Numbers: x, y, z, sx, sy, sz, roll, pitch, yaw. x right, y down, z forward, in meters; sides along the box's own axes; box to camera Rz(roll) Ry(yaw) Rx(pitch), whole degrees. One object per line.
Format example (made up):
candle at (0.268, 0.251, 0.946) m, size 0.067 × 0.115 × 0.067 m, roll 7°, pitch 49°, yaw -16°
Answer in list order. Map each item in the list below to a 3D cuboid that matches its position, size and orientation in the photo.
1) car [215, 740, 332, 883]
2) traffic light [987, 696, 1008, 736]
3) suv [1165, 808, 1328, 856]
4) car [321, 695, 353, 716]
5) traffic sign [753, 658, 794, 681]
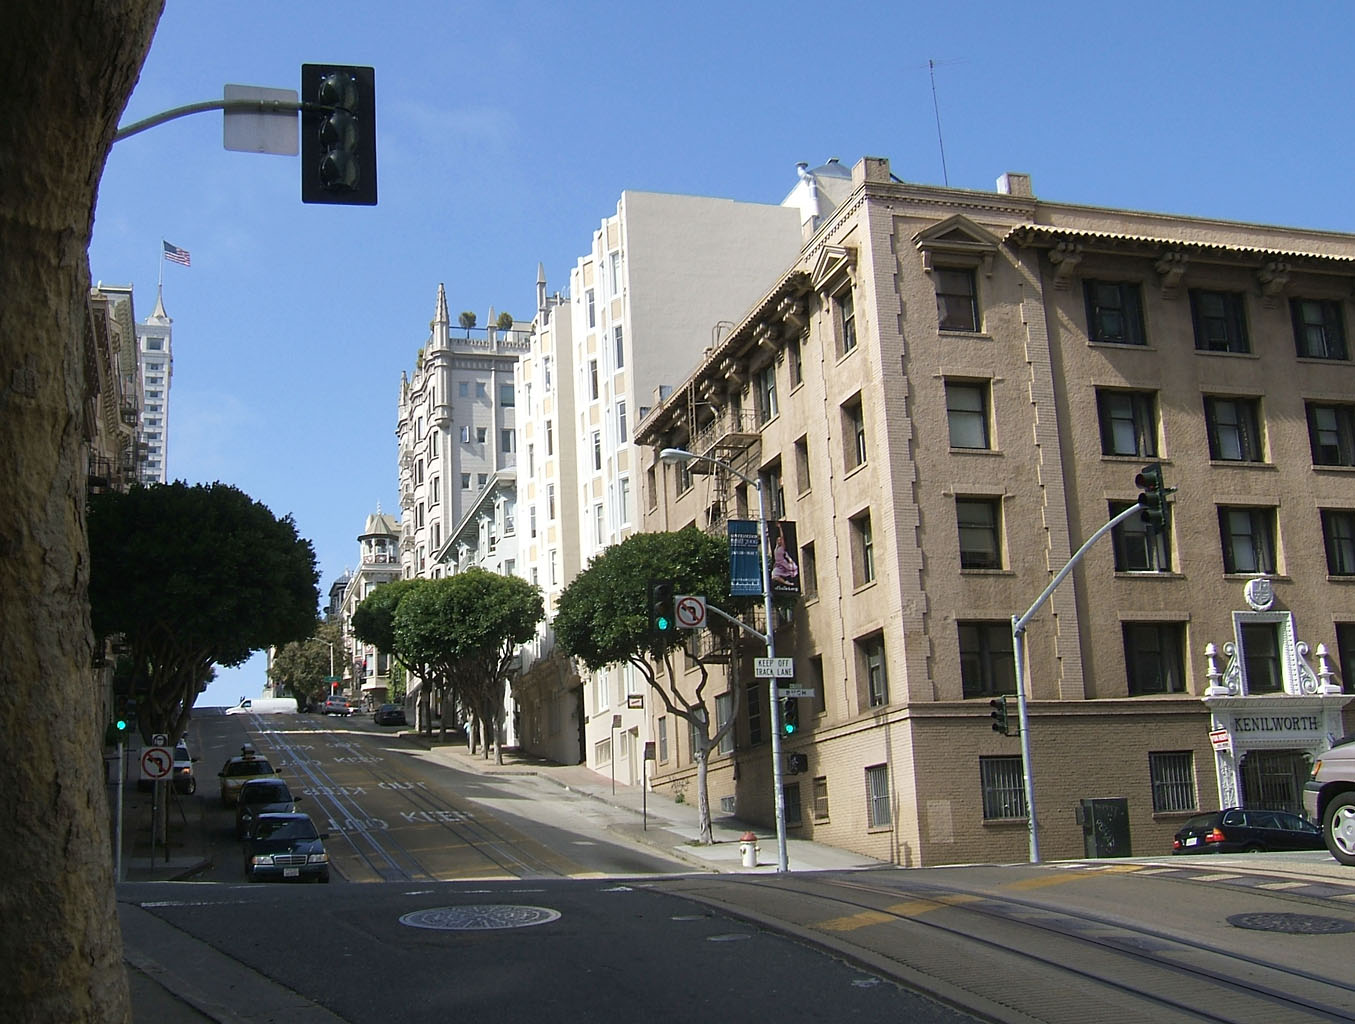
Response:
car at (-10.251, 8.411, 38.545) m, size 2.118 × 2.175 × 6.647 m, roll 1°, pitch -15°, yaw -20°
traffic light at (7.617, 4.829, 35.050) m, size 0.355 × 0.882 × 1.400 m, roll -1°, pitch -11°, yaw 8°
suv at (12.867, 7.171, 32.829) m, size 2.549 × 0.929 × 1.179 m, roll -2°, pitch -9°, yaw -10°
car at (-28.015, 16.155, 121.950) m, size 1.812 × 1.629 × 3.423 m, roll 4°, pitch -12°, yaw -19°
traffic sign at (2.295, 3.733, 35.116) m, size 0.732 × 0.503 × 1.414 m, roll -2°, pitch -11°, yaw 11°
